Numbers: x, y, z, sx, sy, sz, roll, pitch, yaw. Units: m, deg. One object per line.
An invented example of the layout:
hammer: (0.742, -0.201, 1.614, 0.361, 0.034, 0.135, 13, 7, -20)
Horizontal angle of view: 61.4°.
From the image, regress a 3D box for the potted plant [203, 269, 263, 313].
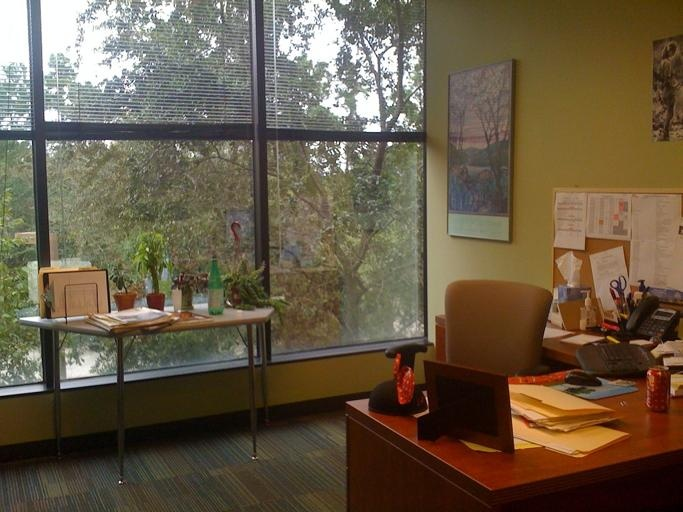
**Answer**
potted plant: (-0.712, 0.257, 4.169, 0.287, 0.271, 0.260, -4, -1, -15)

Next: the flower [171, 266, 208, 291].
flower: (-1.122, 0.174, 4.301, 0.181, 0.141, 0.191, 0, 1, -8)

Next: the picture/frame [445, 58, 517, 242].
picture/frame: (1.047, -0.788, 4.454, 0.156, 1.307, 0.726, -5, 10, -24)

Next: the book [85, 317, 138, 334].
book: (-1.399, 0.432, 3.502, 0.148, 0.040, 0.156, 6, 3, 3)

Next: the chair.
chair: (0.897, 0.369, 3.500, 0.476, 0.723, 0.560, 0, 1, 28)

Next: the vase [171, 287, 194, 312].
vase: (-1.097, 0.304, 3.998, 0.135, 0.170, 0.143, 0, 1, -12)

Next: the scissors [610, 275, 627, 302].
scissors: (1.690, 0.193, 3.544, 0.005, 0.124, 0.126, 6, 30, -23)

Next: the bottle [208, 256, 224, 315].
bottle: (-0.867, 0.186, 3.958, 0.109, 0.403, 0.235, -2, 10, -12)
